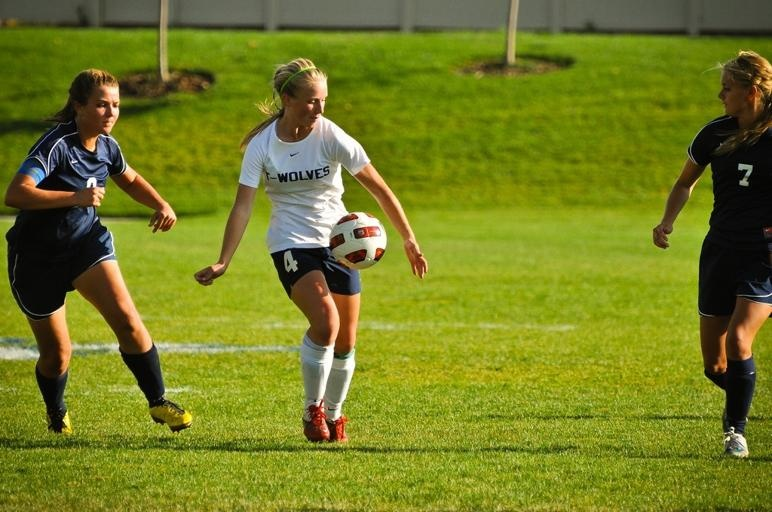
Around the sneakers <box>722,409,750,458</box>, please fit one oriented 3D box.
[{"bbox_3d":[4.391,2.305,16.464,0.243,0.261,0.660,-4,10,7],"label":"sneakers"}]
